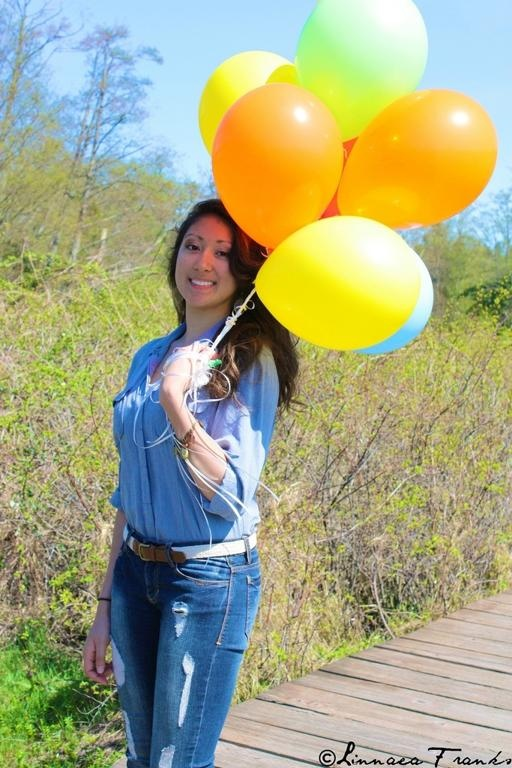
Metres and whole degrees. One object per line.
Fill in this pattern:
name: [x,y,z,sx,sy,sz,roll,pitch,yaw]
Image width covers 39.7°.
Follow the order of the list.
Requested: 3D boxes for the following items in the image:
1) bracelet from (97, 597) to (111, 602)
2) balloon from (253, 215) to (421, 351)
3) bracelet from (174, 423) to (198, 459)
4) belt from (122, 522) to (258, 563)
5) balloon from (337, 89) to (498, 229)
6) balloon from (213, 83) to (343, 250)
bracelet: [-0.405,0.581,1.909,0.024,0.006,0.024,-3,-1,2]
balloon: [0.166,-0.209,1.504,0.326,0.251,0.252,4,5,10]
bracelet: [-0.151,0.120,1.538,0.033,0.071,0.053,14,2,26]
belt: [-0.174,0.380,1.653,0.322,0.078,0.144,4,3,12]
balloon: [0.401,-0.546,1.707,0.367,0.344,0.189,3,3,-18]
balloon: [-0.006,-0.480,1.726,0.333,0.407,0.327,0,-1,-12]
